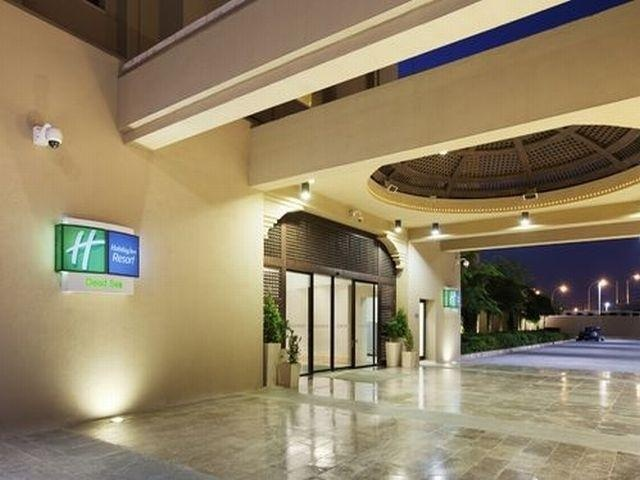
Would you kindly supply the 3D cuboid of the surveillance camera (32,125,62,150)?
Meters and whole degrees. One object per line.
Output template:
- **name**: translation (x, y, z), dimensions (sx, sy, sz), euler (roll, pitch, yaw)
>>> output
- **surveillance camera**: translation (-4.035, -1.556, 6.733), dimensions (0.364, 0.347, 0.289), euler (6, -8, -40)

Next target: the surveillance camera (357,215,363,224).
- **surveillance camera**: translation (1.107, -0.573, 12.889), dimensions (0.138, 0.137, 0.192), euler (-5, -8, 29)

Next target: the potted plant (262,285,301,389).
- **potted plant**: translation (-0.909, 2.307, 10.564), dimensions (0.848, 2.011, 1.345), euler (2, -6, -4)

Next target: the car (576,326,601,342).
- **car**: translation (24.048, 8.466, 41.044), dimensions (1.503, 1.111, 2.709), euler (-7, -14, 33)

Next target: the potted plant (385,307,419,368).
- **potted plant**: translation (2.530, 3.145, 14.538), dimensions (1.006, 1.809, 0.531), euler (0, -5, 10)
